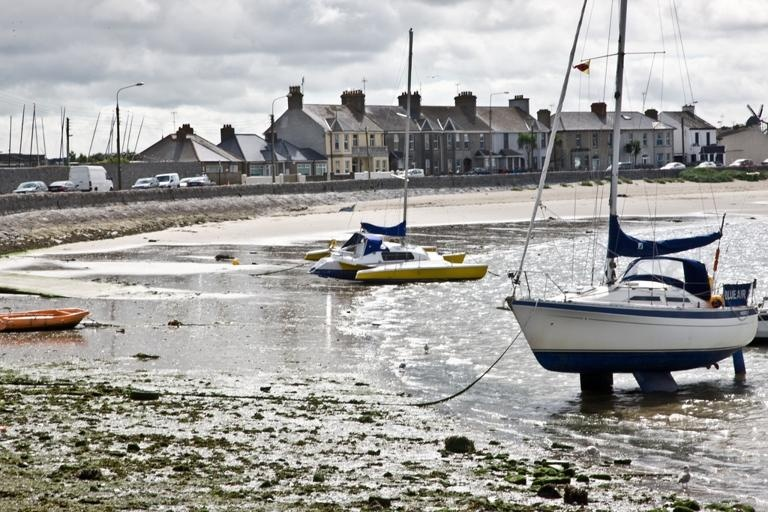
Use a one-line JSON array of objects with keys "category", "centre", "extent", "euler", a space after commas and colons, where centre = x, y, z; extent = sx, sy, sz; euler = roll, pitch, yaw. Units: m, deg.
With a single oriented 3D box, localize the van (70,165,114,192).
[{"category": "van", "centre": [-18.823, -5.055, 101.975], "extent": [1.612, 1.502, 3.239], "euler": [1, 5, 21]}]
